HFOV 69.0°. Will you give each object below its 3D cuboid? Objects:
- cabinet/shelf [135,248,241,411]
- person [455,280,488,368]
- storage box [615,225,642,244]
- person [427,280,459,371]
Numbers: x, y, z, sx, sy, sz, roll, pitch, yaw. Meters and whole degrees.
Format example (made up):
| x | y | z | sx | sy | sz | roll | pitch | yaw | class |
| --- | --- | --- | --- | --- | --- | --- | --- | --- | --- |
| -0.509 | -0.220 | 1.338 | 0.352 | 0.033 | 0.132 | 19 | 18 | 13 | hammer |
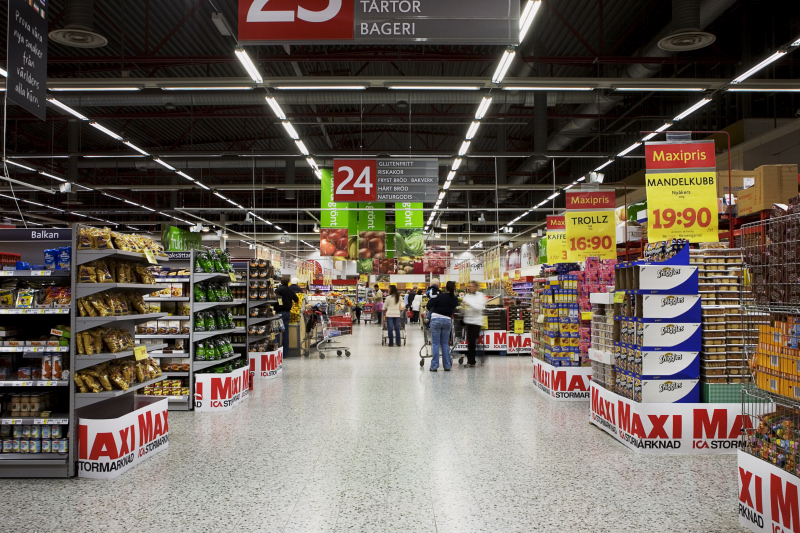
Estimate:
| x | y | z | sx | sy | sz | roll | pitch | yaw | class |
| --- | --- | --- | --- | --- | --- | --- | --- | --- | --- |
| -3.153 | 0.952 | 8.392 | 1.384 | 2.207 | 2.472 | 0 | -1 | -1 | cabinet/shelf |
| 1.568 | 1.240 | 12.785 | 0.511 | 1.877 | 1.299 | 0 | 2 | 5 | person |
| 4.426 | -0.607 | 11.038 | 0.392 | 0.220 | 0.377 | 1 | -4 | -13 | storage box |
| 0.853 | 1.230 | 12.033 | 0.578 | 1.818 | 0.711 | 0 | 2 | 3 | person |
